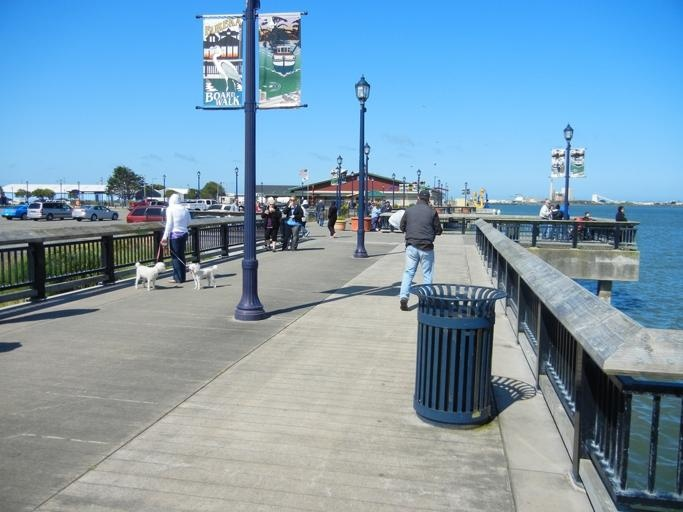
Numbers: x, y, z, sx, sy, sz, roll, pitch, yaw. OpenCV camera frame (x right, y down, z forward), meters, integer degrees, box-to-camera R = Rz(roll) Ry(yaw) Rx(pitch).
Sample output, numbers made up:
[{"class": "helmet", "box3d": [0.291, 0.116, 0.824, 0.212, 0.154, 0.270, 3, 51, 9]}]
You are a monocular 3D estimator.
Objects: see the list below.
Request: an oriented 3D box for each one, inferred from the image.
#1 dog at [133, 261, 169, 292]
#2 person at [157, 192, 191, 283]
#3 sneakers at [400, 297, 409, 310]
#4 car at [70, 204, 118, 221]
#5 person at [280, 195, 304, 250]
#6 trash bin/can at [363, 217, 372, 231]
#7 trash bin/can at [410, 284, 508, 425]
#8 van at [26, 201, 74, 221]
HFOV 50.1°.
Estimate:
[{"class": "dog", "box3d": [-3.963, 0.410, 15.031, 0.565, 0.657, 1.043, -4, 14, -18]}, {"class": "person", "box3d": [-3.539, -0.384, 15.633, 0.600, 1.938, 1.333, -3, 13, -14]}, {"class": "sneakers", "box3d": [1.069, 0.837, 12.557, 0.081, 0.263, 0.105, -1, -6, 3]}, {"class": "car", "box3d": [-19.760, -3.390, 58.553, 3.328, 1.352, 3.345, -3, 14, -14]}, {"class": "person", "box3d": [-1.587, -1.081, 23.540, 0.634, 1.690, 0.688, 4, 7, 1]}, {"class": "trash bin/can", "box3d": [1.307, -1.607, 37.301, 0.606, 0.593, 0.636, -1, 2, 2]}, {"class": "trash bin/can", "box3d": [1.166, 1.063, 8.248, 1.211, 1.542, 1.256, 1, 3, 1]}, {"class": "van", "box3d": [-22.579, -3.473, 57.092, 1.384, 1.166, 2.906, 4, 9, 25]}]
